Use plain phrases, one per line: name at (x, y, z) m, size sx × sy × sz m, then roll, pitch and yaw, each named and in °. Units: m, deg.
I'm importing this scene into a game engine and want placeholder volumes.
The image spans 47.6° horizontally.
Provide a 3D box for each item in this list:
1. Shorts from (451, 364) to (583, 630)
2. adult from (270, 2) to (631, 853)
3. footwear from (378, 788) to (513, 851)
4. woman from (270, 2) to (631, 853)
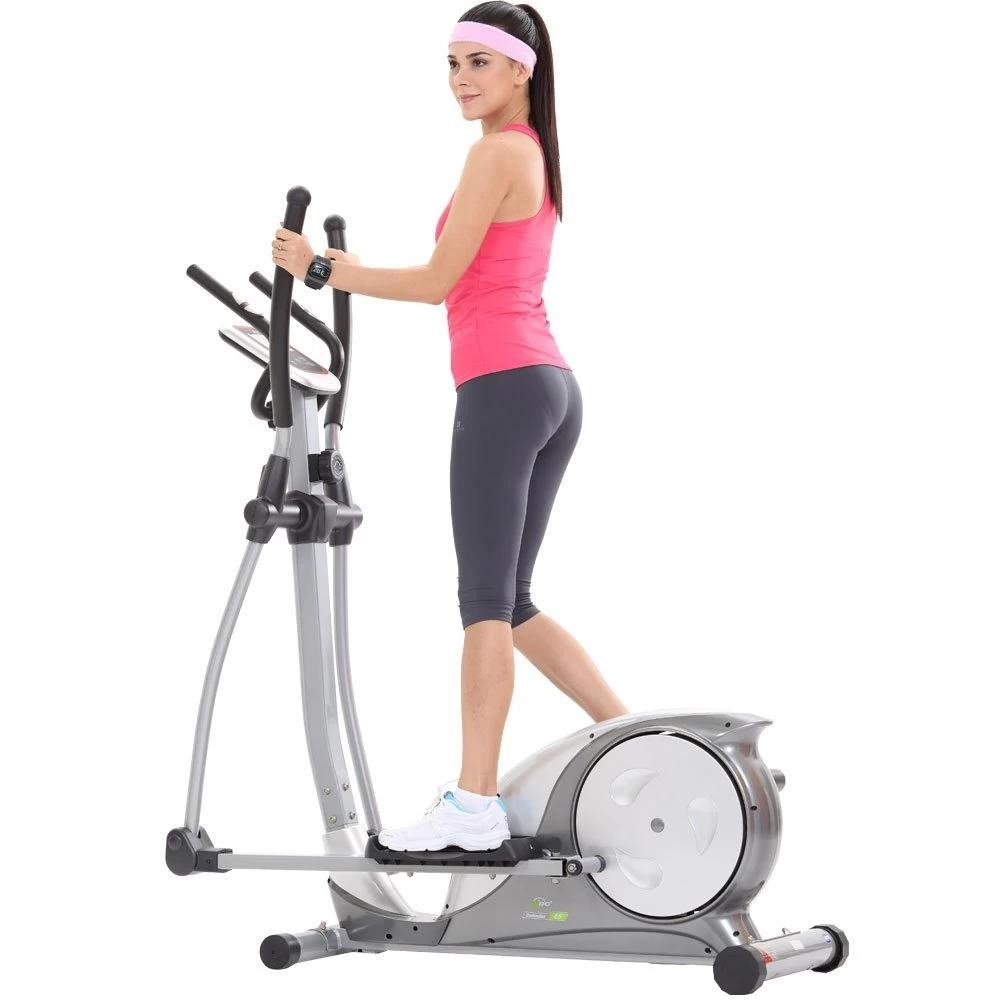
Shorts at (0.054, 0.007, 2.576) m, size 0.245 × 0.598 × 0.364 m, roll -5°, pitch -18°, yaw 23°
adult at (-0.083, -0.182, 2.562) m, size 0.563 × 1.894 × 0.723 m, roll -2°, pitch -17°, yaw 15°
footwear at (-0.121, 0.708, 2.495) m, size 0.292 × 0.143 × 0.142 m, roll 2°, pitch -16°, yaw 0°
woman at (-0.084, -0.181, 2.563) m, size 0.566 × 1.894 × 0.724 m, roll -2°, pitch -17°, yaw 15°
